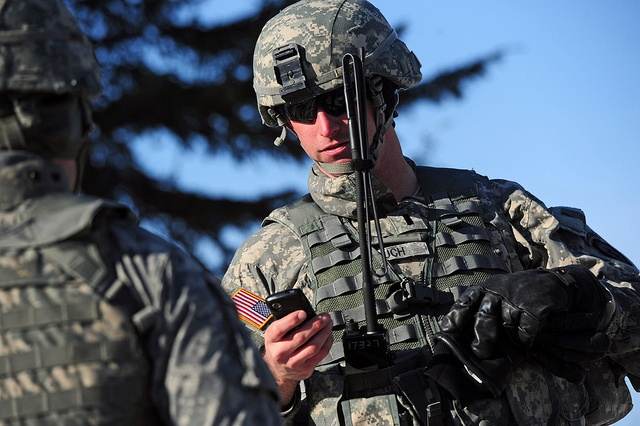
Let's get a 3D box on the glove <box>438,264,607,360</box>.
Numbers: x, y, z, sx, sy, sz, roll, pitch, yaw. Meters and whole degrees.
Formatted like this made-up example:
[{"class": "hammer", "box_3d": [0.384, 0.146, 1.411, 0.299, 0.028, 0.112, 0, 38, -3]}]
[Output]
[{"class": "glove", "box_3d": [1.106, 0.501, 4.635, 0.588, 0.544, 0.483, -2, -5, 7]}]
